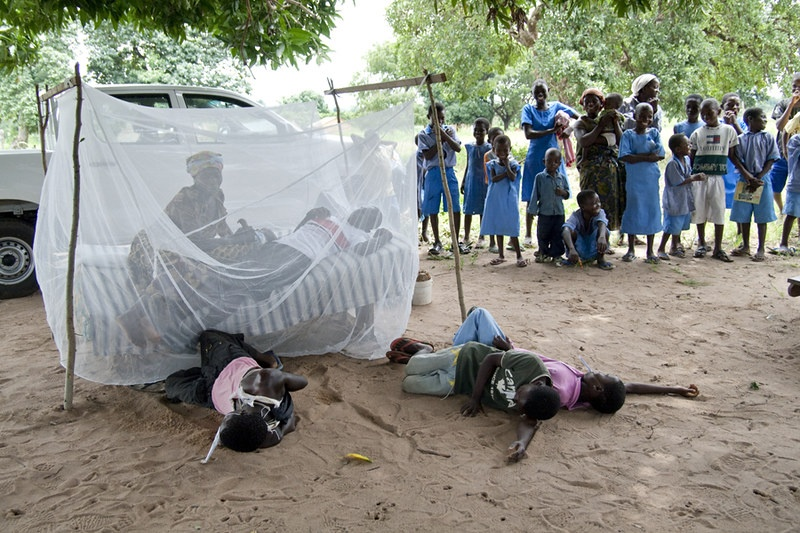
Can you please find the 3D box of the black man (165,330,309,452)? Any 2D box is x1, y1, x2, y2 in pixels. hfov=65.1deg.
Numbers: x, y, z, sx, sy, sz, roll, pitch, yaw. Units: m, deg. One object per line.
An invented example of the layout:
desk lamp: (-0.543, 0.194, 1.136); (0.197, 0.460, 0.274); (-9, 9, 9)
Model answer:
black man: (-1.320, 1.118, 5.016); (1.092, 0.460, 0.820); (33, 44, 32)

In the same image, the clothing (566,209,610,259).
clothing: (2.391, -0.375, 8.055); (0.532, 0.605, 0.657); (-1, 3, 5)

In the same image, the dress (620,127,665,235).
dress: (3.045, -1.057, 7.912); (0.520, 1.339, 0.300); (-1, 7, 14)

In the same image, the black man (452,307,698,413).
black man: (1.302, 0.821, 5.199); (1.472, 0.479, 0.967); (13, 16, 16)

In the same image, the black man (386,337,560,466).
black man: (0.601, 0.895, 5.318); (1.688, 0.652, 0.788); (25, 15, 38)

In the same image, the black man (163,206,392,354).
black man: (-0.953, 0.184, 5.504); (1.670, 0.575, 1.066); (-16, 55, -33)

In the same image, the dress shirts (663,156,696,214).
dress shirts: (3.530, -1.013, 7.891); (0.454, 0.716, 0.533); (-4, 19, 9)

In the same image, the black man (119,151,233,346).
black man: (-1.862, -0.150, 5.194); (0.961, 1.600, 0.380); (-6, 8, -27)

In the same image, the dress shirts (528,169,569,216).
dress shirts: (1.903, -0.928, 8.015); (0.491, 0.585, 0.316); (-2, 7, 11)

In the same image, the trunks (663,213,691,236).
trunks: (3.580, -0.537, 8.053); (0.354, 0.272, 0.191); (-2, 7, 8)

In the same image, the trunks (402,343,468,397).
trunks: (0.295, 0.962, 5.352); (0.494, 0.173, 0.387); (-3, 52, 13)

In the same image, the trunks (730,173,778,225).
trunks: (4.497, -0.858, 7.974); (0.666, 0.753, 0.322); (8, 17, 43)

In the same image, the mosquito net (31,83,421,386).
mosquito net: (-1.830, -0.313, 6.502); (2.968, 1.925, 2.852); (-1, 3, -19)

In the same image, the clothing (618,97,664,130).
clothing: (3.044, -1.931, 7.971); (0.513, 0.472, 0.316); (-16, 17, -8)

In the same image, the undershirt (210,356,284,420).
undershirt: (-1.250, 0.931, 4.792); (0.591, 0.328, 0.220); (28, 3, 4)
